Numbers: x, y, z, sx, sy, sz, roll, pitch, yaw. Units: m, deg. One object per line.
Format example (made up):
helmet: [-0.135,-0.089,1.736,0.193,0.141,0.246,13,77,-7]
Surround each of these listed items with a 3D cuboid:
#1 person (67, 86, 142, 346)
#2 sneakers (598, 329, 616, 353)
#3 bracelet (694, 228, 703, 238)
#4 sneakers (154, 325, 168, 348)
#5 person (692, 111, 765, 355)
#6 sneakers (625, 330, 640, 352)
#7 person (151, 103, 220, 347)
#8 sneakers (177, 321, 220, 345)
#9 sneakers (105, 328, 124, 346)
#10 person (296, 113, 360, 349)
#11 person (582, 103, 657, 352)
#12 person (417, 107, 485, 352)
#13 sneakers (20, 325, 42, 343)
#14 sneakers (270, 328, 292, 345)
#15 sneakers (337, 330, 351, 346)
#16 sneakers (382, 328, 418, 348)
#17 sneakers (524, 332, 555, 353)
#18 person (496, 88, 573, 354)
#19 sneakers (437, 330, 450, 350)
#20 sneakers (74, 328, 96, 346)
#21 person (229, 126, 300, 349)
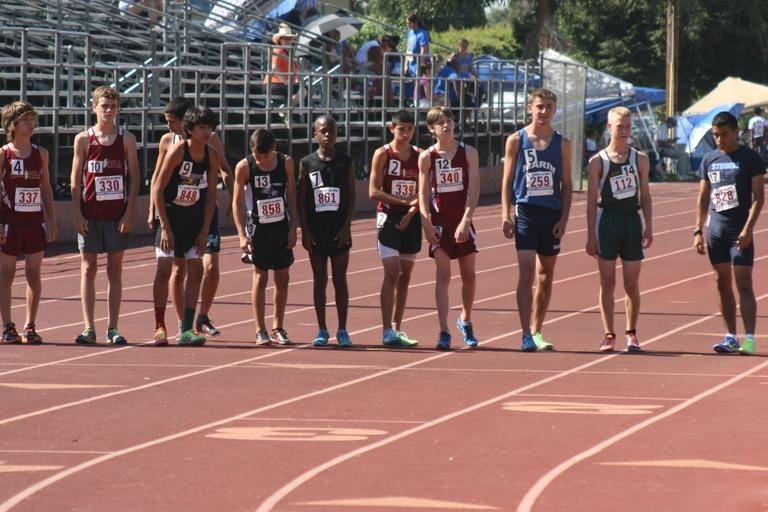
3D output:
person: [-2.668,-0.396,8.434,0.633,2.470,0.603,-2,6,-18]
sneakers: [2.084,0.791,8.156,0.092,0.112,0.256,3,4,7]
bracelet: [3.030,-0.231,8.407,0.092,0.065,0.085,1,1,8]
sneakers: [-2.113,0.750,8.350,0.119,0.172,0.210,-2,7,-15]
person: [3.209,-0.223,8.156,0.676,2.232,0.543,6,9,44]
sneakers: [2.323,0.803,8.222,0.089,0.123,0.269,0,-4,9]
person: [-1.873,-0.288,8.330,0.628,2.248,0.349,-2,6,-13]
sneakers: [-1.767,0.760,8.439,0.365,0.165,0.128,0,-1,8]
sneakers: [-2.540,0.758,8.373,0.181,0.169,0.217,-2,7,-15]
person: [-0.557,-0.244,8.436,0.557,2.220,0.464,0,6,-1]
person: [2.184,-0.250,8.155,0.597,2.262,0.436,1,6,8]
person: [0.633,-0.270,8.359,0.563,2.314,0.654,2,6,17]
sneakers: [-3.350,0.731,8.354,0.196,0.187,0.184,-1,7,-8]
sneakers: [-0.984,0.763,8.441,0.093,0.109,0.235,-5,8,-37]
sneakers: [-0.376,0.779,8.402,0.082,0.082,0.189,-5,8,-19]
sneakers: [0.205,0.793,8.488,0.408,0.179,0.140,4,16,-18]
sneakers: [1.433,0.807,8.215,0.320,0.143,0.129,0,8,-1]
person: [1.429,-0.353,8.215,0.619,2.427,0.453,1,6,11]
sneakers: [0.562,0.782,8.220,0.120,0.186,0.126,0,7,0]
sneakers: [-2.801,0.765,8.360,0.096,0.115,0.255,19,2,25]
person: [-1.124,-0.187,8.380,0.607,2.059,0.350,-1,6,-10]
